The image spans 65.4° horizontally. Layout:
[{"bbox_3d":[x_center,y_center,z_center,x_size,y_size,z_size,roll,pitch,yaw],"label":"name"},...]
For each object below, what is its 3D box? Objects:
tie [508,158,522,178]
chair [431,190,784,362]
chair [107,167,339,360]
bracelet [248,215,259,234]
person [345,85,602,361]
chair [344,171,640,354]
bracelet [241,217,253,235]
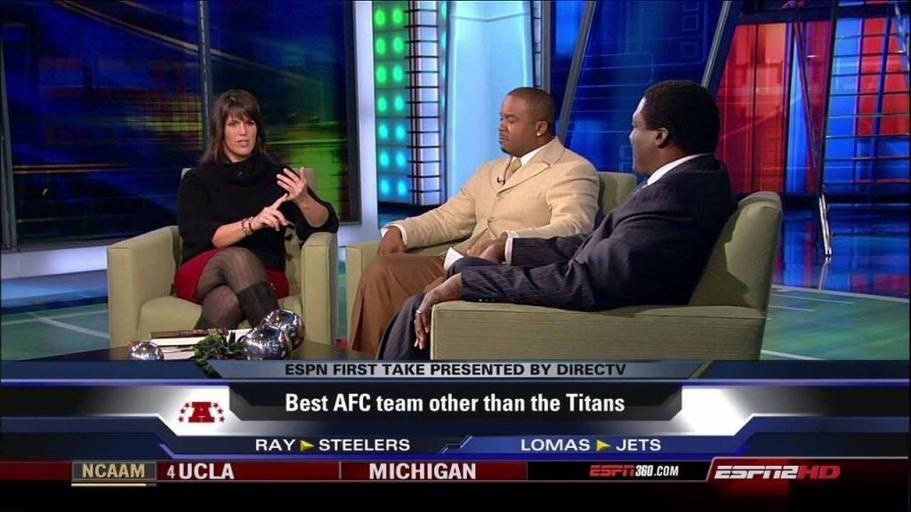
[{"bbox_3d":[0.352,-0.515,4.180,0.141,0.042,0.037,-45,44,-15],"label":"tie"},{"bbox_3d":[0.816,0.017,3.397,1.040,0.703,0.950,0,0,12],"label":"chair"},{"bbox_3d":[-1.319,0.058,4.218,1.112,1.050,0.828,0,-3,-4],"label":"chair"},{"bbox_3d":[-1.151,-0.172,4.025,0.037,0.082,0.069,2,6,-4],"label":"bracelet"},{"bbox_3d":[0.119,0.020,4.132,1.380,1.889,1.153,-5,9,-26],"label":"person"},{"bbox_3d":[0.189,0.125,4.081,1.239,1.440,1.273,9,-1,-27],"label":"chair"},{"bbox_3d":[-1.183,-0.178,4.025,0.039,0.082,0.069,3,1,-29],"label":"bracelet"}]
